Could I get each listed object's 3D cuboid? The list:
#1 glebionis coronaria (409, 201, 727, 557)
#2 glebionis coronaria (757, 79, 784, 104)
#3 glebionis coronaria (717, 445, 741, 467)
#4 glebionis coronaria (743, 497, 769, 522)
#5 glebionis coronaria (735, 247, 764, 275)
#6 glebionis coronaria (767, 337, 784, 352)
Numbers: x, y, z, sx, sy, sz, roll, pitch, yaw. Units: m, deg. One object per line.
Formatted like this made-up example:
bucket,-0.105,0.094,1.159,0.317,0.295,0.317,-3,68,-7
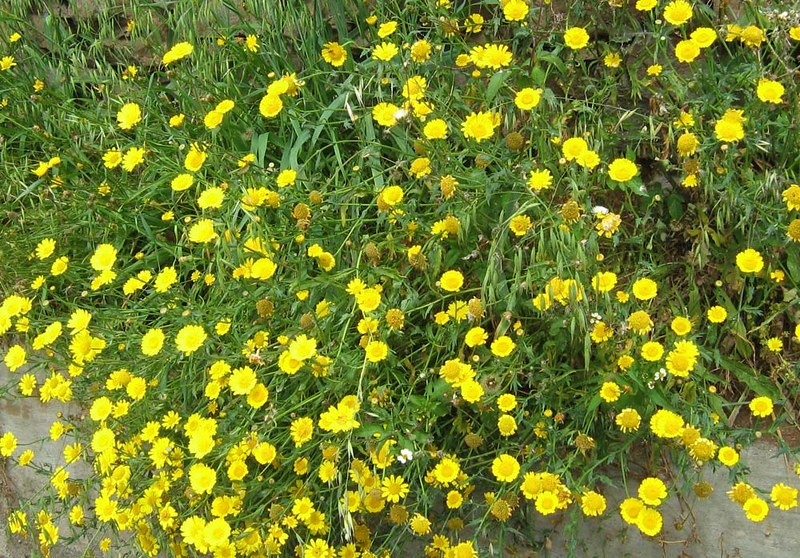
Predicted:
glebionis coronaria,0.697,0.449,2.717,1.162,0.545,1.211,-11,82,-2
glebionis coronaria,1.500,-0.761,2.647,0.093,0.075,0.096,12,82,2
glebionis coronaria,1.275,0.679,2.518,0.065,0.053,0.068,7,82,1
glebionis coronaria,1.382,0.888,2.530,0.088,0.051,0.086,12,82,1
glebionis coronaria,1.418,-0.076,2.658,0.102,0.038,0.107,33,90,18
glebionis coronaria,1.538,0.272,2.662,0.067,0.027,0.075,-9,77,22
